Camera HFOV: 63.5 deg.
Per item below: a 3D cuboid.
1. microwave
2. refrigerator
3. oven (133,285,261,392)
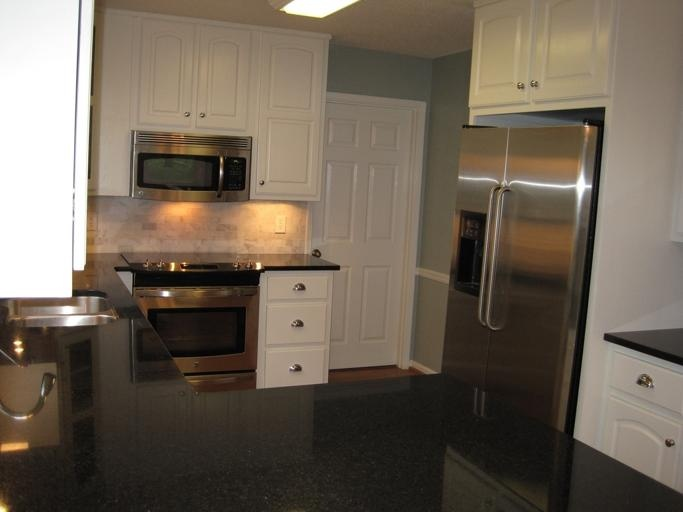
[{"bbox_3d":[-1.052,-0.614,3.838,0.780,0.473,0.469,0,4,-20],"label":"microwave"},{"bbox_3d":[0.928,0.074,2.982,0.319,1.536,0.800,2,9,-27],"label":"refrigerator"},{"bbox_3d":[-1.026,0.469,3.950,0.709,0.766,0.619,1,6,-21],"label":"oven"}]
